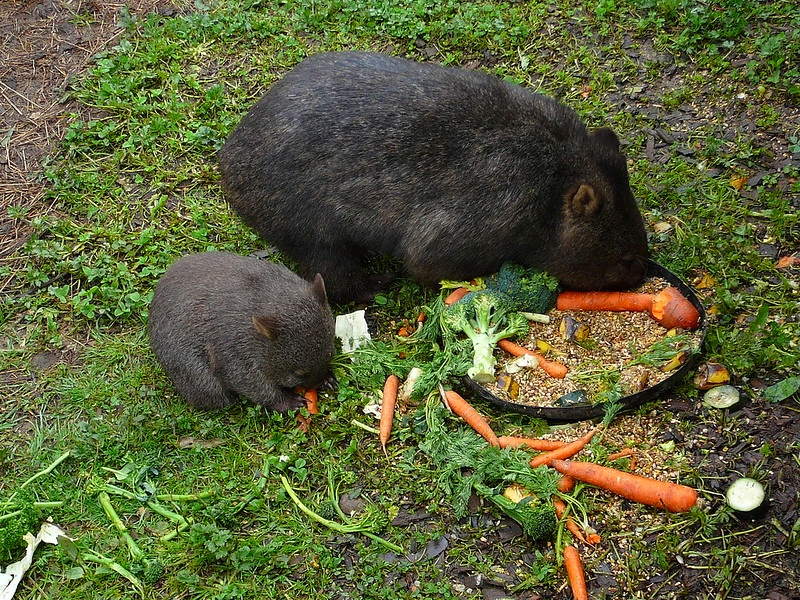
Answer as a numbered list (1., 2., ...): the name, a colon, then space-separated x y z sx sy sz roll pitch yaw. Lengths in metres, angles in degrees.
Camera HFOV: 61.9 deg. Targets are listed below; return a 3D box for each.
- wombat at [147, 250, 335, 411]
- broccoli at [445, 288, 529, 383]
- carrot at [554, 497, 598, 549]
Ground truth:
1. wombat: -1.246 0.235 5.450 1.497 0.971 1.115 9 45 13
2. broccoli: 0.675 0.213 5.275 0.671 0.310 0.694 13 55 8
3. carrot: 1.281 1.560 4.637 0.451 0.137 0.117 43 24 3
